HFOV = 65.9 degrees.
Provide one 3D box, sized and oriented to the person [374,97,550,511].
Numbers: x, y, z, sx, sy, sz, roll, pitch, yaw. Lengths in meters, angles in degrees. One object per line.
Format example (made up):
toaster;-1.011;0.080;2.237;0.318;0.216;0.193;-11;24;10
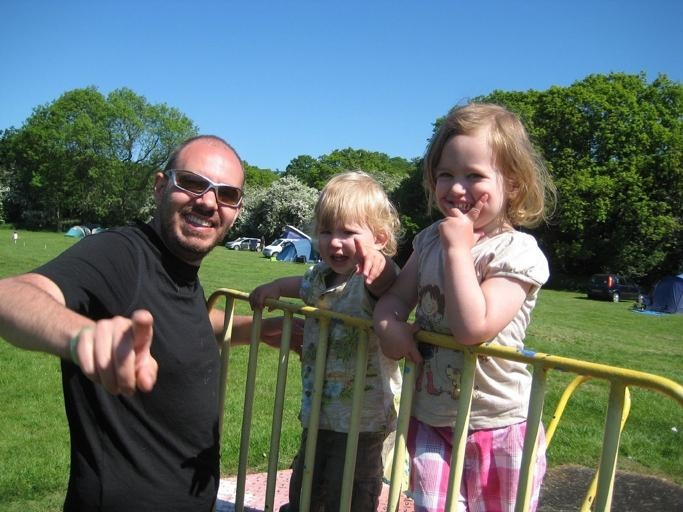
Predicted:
person;0.552;0.184;2.356;0.789;1.697;0.703;4;0;12

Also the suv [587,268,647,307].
suv;12.482;1.486;24.104;2.110;1.167;1.092;5;0;-11

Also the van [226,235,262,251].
van;-9.063;-1.017;49.802;2.545;1.330;1.564;2;-1;-28

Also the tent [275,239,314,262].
tent;-2.820;-0.205;36.955;2.183;1.207;3.141;2;0;14

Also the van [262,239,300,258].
van;-4.448;-0.580;38.717;2.360;1.370;1.484;0;2;-28
